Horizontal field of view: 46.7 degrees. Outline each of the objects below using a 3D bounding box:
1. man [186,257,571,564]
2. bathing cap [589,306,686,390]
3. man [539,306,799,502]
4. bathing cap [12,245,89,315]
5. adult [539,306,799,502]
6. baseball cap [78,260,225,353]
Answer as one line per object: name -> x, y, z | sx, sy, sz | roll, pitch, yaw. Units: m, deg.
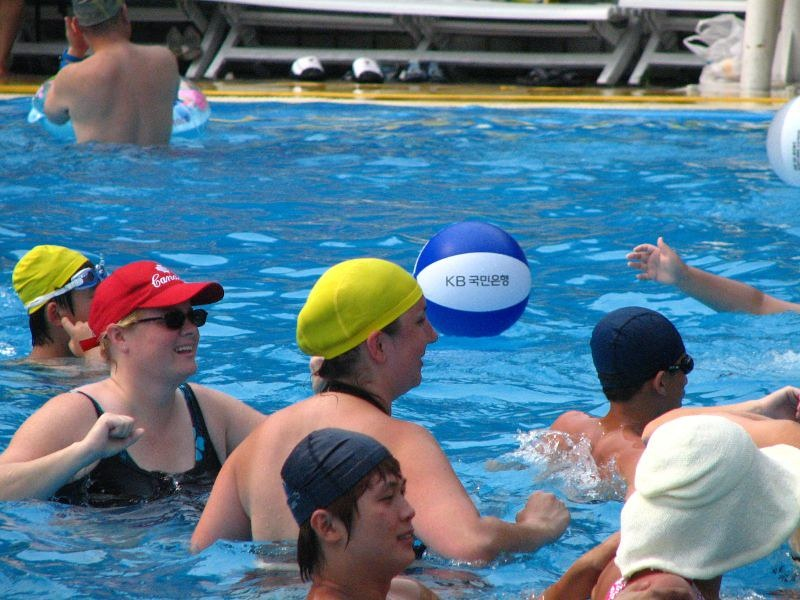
man -> -0.189, 0.386, 3.796 | 1.177, 1.235, 1.704 | -7, 9, -44
bathing cap -> 0.982, 0.190, 4.047 | 0.378, 0.253, 0.375 | -30, 26, -33
man -> 1.155, 0.452, 4.047 | 0.341, 0.396, 0.998 | -32, 16, -27
bathing cap -> -1.918, -0.158, 5.189 | 0.464, 0.294, 0.340 | -23, 17, -1
adult -> 1.155, 0.452, 4.047 | 0.341, 0.396, 0.998 | -32, 16, -27
baseball cap -> -1.062, 0.005, 3.928 | 0.562, 0.235, 0.327 | -22, -3, 4
